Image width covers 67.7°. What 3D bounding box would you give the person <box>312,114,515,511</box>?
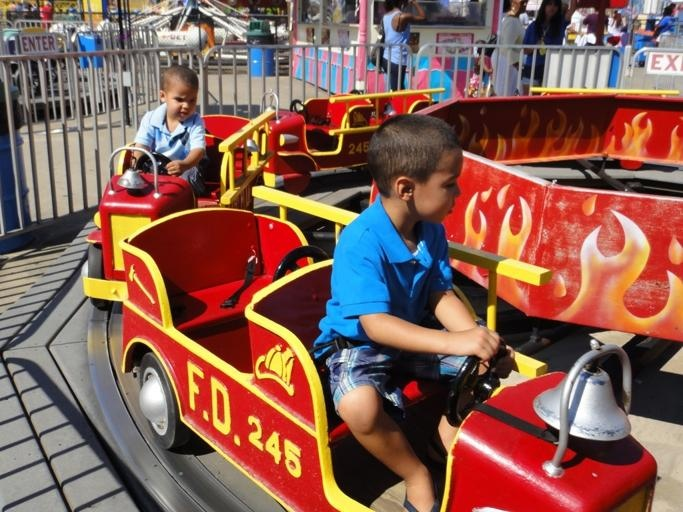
[{"bbox_3d":[0.241,0.251,1.801,0.591,1.428,0.604,-6,18,-28],"label":"person"}]

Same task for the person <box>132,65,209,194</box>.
[{"bbox_3d":[-1.233,-0.893,3.633,0.520,0.909,0.814,-4,18,-21],"label":"person"}]

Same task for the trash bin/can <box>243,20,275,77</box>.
[{"bbox_3d":[-1.821,-4.377,11.042,0.609,1.242,0.581,-9,24,-29],"label":"trash bin/can"}]
